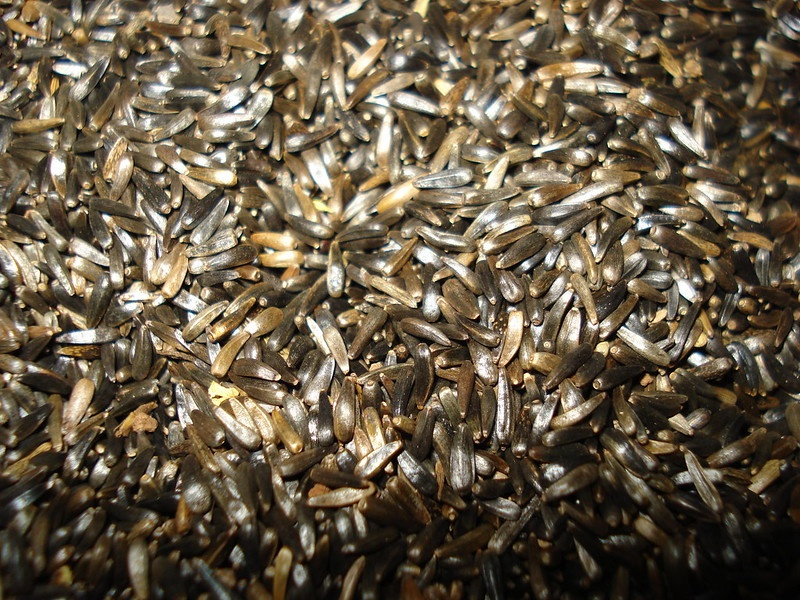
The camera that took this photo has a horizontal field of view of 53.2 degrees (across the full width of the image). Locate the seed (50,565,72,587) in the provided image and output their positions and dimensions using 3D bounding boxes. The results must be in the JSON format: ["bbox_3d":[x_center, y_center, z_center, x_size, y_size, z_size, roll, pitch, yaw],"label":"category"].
[{"bbox_3d":[-0.750,0.622,1.778,0.030,0.015,0.041,2,40,-20],"label":"seed"}]
